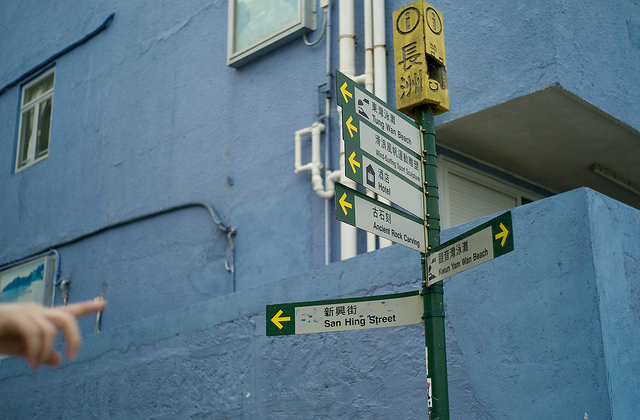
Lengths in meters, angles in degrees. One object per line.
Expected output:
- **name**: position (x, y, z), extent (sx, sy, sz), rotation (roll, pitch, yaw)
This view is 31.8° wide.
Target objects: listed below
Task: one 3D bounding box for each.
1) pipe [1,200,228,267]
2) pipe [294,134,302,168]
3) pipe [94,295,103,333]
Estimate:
- **pipe**: position (-2.959, 0.489, 17.440), extent (0.211, 0.775, 4.363), rotation (-18, 2, -42)
- **pipe**: position (-0.300, -0.797, 15.715), extent (0.112, 0.482, 0.225), rotation (-4, -16, -2)
- **pipe**: position (-3.376, 1.584, 17.177), extent (0.127, 0.766, 0.965), rotation (-1, -17, -11)
